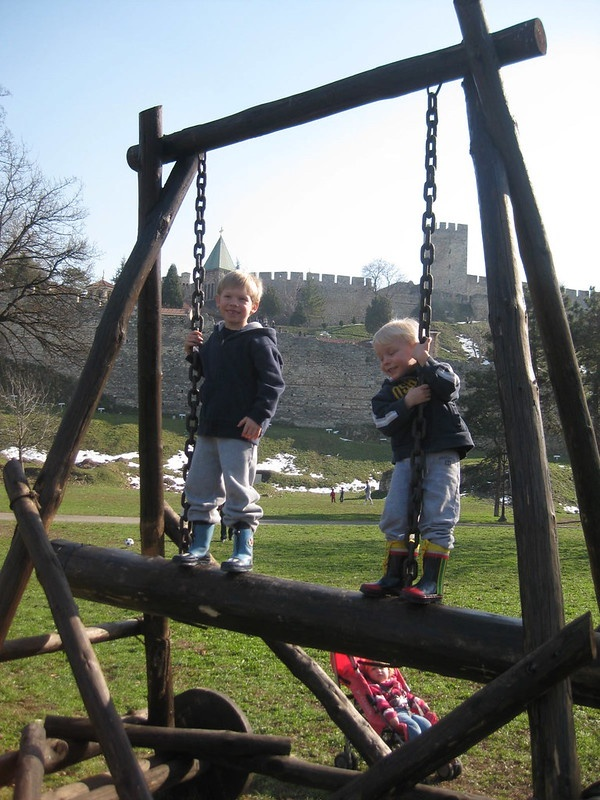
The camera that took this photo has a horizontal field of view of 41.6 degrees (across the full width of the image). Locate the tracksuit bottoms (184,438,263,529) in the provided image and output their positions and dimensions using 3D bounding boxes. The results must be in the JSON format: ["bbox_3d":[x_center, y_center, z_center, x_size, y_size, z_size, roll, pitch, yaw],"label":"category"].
[{"bbox_3d":[-0.383,0.351,3.805,0.378,0.583,0.194,9,21,11],"label":"tracksuit bottoms"}]

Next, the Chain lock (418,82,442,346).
[{"bbox_3d":[0.536,-0.915,3.255,0.079,0.792,0.051,1,12,11],"label":"Chain lock"}]

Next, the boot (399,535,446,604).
[{"bbox_3d":[0.498,0.660,2.974,0.258,0.254,0.130,18,-23,-34],"label":"boot"}]

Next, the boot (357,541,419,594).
[{"bbox_3d":[0.349,0.664,3.138,0.252,0.231,0.111,1,-6,-13],"label":"boot"}]
